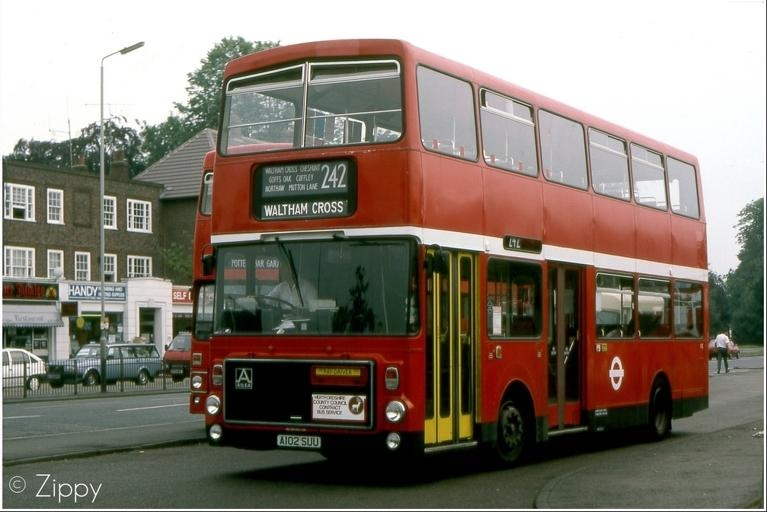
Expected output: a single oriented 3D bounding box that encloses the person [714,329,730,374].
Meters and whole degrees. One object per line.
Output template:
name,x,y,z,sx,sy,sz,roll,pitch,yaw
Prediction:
person,18.327,5.147,43.946,0.708,2.226,0.748,-3,-6,32
